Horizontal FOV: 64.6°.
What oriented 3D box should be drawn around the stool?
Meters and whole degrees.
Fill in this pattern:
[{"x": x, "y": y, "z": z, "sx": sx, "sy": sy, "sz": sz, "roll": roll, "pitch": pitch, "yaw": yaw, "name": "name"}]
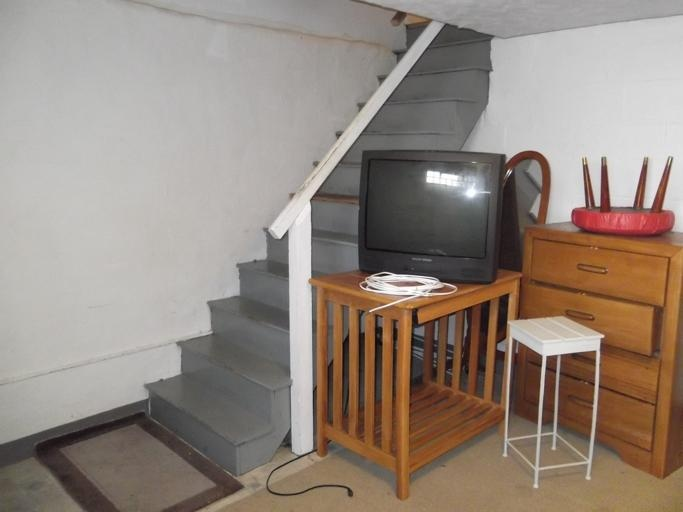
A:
[{"x": 1.512, "y": -0.312, "z": 2.981, "sx": 0.458, "sy": 0.390, "sz": 0.464, "roll": -1, "pitch": 8, "yaw": 6, "name": "stool"}]
